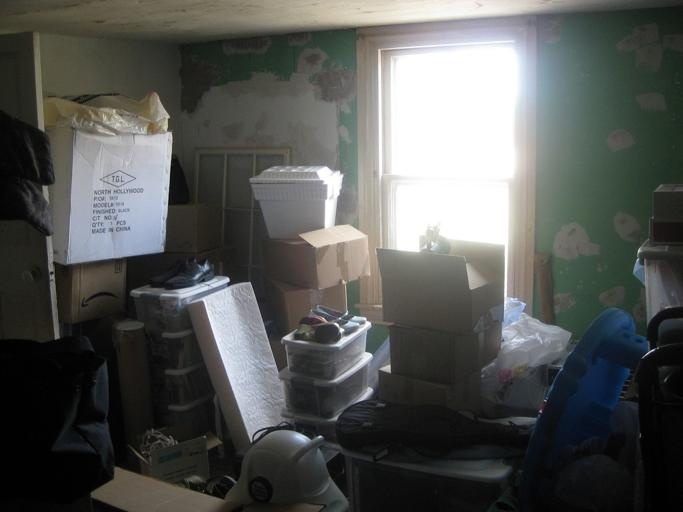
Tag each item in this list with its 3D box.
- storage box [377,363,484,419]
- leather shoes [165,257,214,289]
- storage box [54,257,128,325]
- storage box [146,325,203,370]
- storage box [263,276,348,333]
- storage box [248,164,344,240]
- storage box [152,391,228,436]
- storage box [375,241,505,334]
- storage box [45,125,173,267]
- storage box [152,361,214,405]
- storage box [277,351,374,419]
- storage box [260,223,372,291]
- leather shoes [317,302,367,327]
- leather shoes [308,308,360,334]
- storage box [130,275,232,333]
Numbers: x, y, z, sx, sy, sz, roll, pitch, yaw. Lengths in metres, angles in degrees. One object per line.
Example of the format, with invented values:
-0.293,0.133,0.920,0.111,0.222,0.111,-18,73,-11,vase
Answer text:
0.446,0.661,2.993,0.279,0.191,0.294,1,5,25,storage box
-0.909,0.096,3.518,0.107,0.136,0.305,1,10,30,leather shoes
-1.475,0.235,3.666,0.385,0.373,0.318,-3,-21,-15,storage box
-1.009,0.507,3.433,0.237,0.167,0.255,0,2,24,storage box
-0.213,0.235,3.770,0.374,0.251,0.374,-9,15,-40,storage box
-0.287,-0.360,3.914,0.523,0.415,0.481,2,11,15,storage box
-0.901,0.861,3.534,0.204,0.279,0.393,-1,1,29,storage box
0.515,0.160,3.067,0.577,0.415,0.631,3,5,18,storage box
-1.494,-0.392,3.608,0.409,0.779,0.793,9,9,24,storage box
-0.961,0.737,3.515,0.209,0.266,0.374,0,1,29,storage box
-0.165,0.742,3.326,0.356,0.207,0.481,4,2,14,storage box
-0.169,-0.029,3.854,0.614,0.346,0.643,-7,14,-24,storage box
-0.027,0.323,3.359,0.174,0.069,0.133,5,2,15,leather shoes
-0.029,0.353,3.321,0.187,0.077,0.143,13,8,11,leather shoes
-1.006,0.316,3.673,0.376,0.323,0.573,4,11,20,storage box
